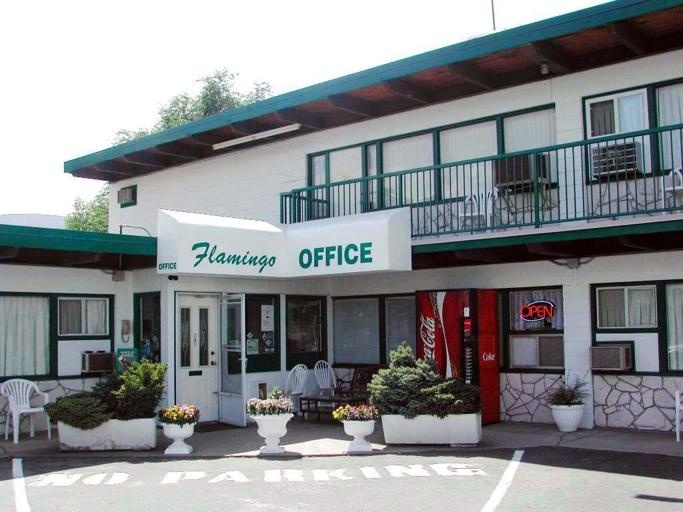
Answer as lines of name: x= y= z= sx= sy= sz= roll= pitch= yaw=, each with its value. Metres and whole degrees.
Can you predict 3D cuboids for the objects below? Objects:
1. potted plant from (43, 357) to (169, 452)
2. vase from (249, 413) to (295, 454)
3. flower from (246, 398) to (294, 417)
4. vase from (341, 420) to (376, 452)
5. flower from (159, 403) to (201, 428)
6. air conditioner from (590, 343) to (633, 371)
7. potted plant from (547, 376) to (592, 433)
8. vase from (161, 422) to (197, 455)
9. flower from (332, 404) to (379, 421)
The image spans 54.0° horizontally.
potted plant: x=-4.096 y=2.519 z=11.743 sx=1.618 sy=1.623 sz=1.452 roll=2 pitch=-4 yaw=-36
vase: x=-1.211 y=3.039 z=11.645 sx=0.744 sy=0.654 sz=0.739 roll=4 pitch=-9 yaw=-32
flower: x=-1.264 y=2.624 z=11.636 sx=0.730 sy=0.260 sz=0.743 roll=3 pitch=-7 yaw=-21
vase: x=0.294 y=3.111 z=11.663 sx=0.638 sy=0.500 sz=0.628 roll=8 pitch=-16 yaw=-38
flower: x=-2.905 y=2.809 z=11.833 sx=0.774 sy=0.439 sz=0.805 roll=2 pitch=-6 yaw=-10
air conditioner: x=5.088 y=2.012 z=12.576 sx=0.849 sy=0.631 sz=0.481 roll=-4 pitch=-10 yaw=36
potted plant: x=4.308 y=2.848 z=12.806 sx=0.591 sy=1.023 sz=0.672 roll=0 pitch=-5 yaw=-23
vase: x=-2.808 y=3.143 z=11.629 sx=0.506 sy=0.428 sz=0.529 roll=-1 pitch=-12 yaw=4
flower: x=0.251 y=2.726 z=11.652 sx=0.755 sy=0.268 sz=0.394 roll=-2 pitch=-8 yaw=1
